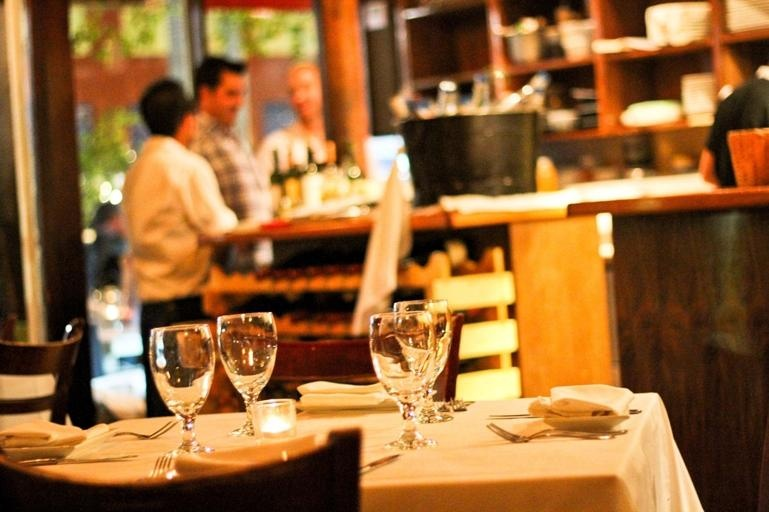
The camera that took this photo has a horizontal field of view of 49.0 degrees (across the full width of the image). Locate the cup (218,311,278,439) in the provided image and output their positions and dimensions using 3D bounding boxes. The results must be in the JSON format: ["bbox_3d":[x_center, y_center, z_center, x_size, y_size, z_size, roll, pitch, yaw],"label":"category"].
[{"bbox_3d":[-0.304,0.268,1.894,0.183,0.274,0.187,-3,1,0],"label":"cup"}]

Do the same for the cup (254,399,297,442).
[{"bbox_3d":[-0.230,0.342,1.752,0.076,0.062,0.080,-1,-2,0],"label":"cup"}]

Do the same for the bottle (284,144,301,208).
[{"bbox_3d":[-0.432,-0.375,3.975,0.089,0.282,0.236,-6,10,-5],"label":"bottle"}]
